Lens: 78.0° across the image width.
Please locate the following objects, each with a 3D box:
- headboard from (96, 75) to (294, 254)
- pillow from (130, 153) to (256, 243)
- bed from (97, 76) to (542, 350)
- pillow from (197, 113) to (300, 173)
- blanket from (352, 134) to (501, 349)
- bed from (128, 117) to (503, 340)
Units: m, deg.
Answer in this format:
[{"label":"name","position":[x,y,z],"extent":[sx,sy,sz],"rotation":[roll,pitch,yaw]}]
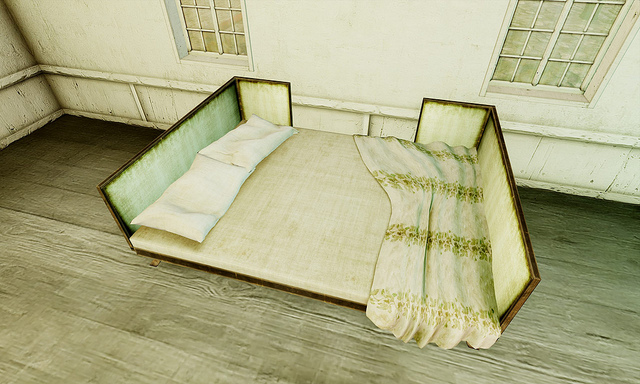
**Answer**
[{"label":"headboard","position":[-1.265,-0.390,4.904],"extent":[1.089,1.048,2.383],"rotation":[25,52,18]},{"label":"pillow","position":[-1.343,0.069,4.415],"extent":[0.781,0.198,1.112],"rotation":[20,55,16]},{"label":"bed","position":[0.073,0.853,5.356],"extent":[4.488,1.391,2.901],"rotation":[12,54,11]},{"label":"pillow","position":[-0.888,-0.650,4.994],"extent":[0.709,0.135,0.891],"rotation":[22,48,23]},{"label":"blanket","position":[1.256,0.579,4.255],"extent":[1.981,0.580,2.572],"rotation":[9,56,8]},{"label":"bed","position":[0.269,0.238,4.587],"extent":[3.682,1.050,2.023],"rotation":[10,38,11]}]
